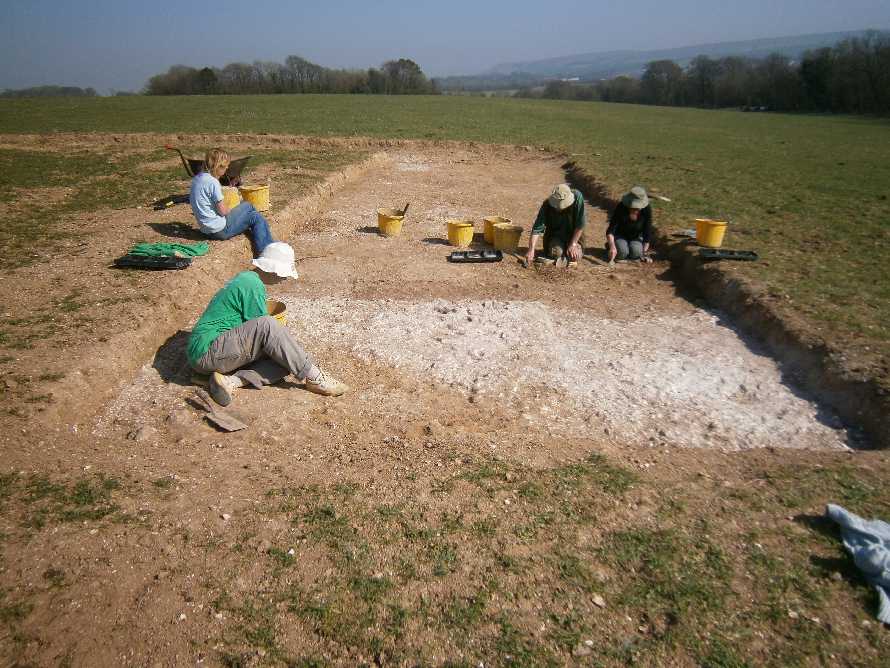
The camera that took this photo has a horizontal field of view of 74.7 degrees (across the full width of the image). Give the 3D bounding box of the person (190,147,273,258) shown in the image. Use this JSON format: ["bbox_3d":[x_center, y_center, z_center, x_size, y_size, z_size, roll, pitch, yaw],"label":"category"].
[{"bbox_3d":[-3.299,-1.968,9.037,0.735,1.726,1.275,29,37,33],"label":"person"}]

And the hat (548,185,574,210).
[{"bbox_3d":[1.753,-1.989,8.637,0.384,0.362,0.316,-10,27,-13],"label":"hat"}]

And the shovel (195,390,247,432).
[{"bbox_3d":[-2.243,0.784,5.825,0.433,0.170,0.131,32,49,16],"label":"shovel"}]

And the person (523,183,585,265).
[{"bbox_3d":[1.683,-1.623,8.852,0.797,1.203,0.531,1,27,8],"label":"person"}]

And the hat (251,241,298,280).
[{"bbox_3d":[-2.258,-0.970,7.998,0.555,0.294,0.561,34,8,3],"label":"hat"}]

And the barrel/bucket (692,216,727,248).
[{"bbox_3d":[4.026,-1.500,8.889,0.526,0.383,0.516,-1,18,0],"label":"barrel/bucket"}]

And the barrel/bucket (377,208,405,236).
[{"bbox_3d":[-0.953,-1.955,10.247,0.499,0.392,0.474,3,28,-2],"label":"barrel/bucket"}]

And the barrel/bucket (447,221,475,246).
[{"bbox_3d":[0.265,-1.626,9.587,0.445,0.343,0.408,1,20,0],"label":"barrel/bucket"}]

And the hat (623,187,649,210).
[{"bbox_3d":[2.961,-2.074,9.051,0.350,0.321,0.484,17,33,35],"label":"hat"}]

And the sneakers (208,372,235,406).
[{"bbox_3d":[-2.233,0.573,5.881,0.197,0.356,0.230,-19,-2,-3],"label":"sneakers"}]

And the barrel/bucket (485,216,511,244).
[{"bbox_3d":[0.822,-1.794,9.824,0.526,0.436,0.433,1,27,-9],"label":"barrel/bucket"}]

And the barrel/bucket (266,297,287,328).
[{"bbox_3d":[-1.998,-0.242,7.039,0.298,0.232,0.315,3,22,-1],"label":"barrel/bucket"}]

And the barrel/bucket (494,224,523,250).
[{"bbox_3d":[1.010,-1.560,9.608,0.473,0.378,0.415,-3,29,-11],"label":"barrel/bucket"}]
